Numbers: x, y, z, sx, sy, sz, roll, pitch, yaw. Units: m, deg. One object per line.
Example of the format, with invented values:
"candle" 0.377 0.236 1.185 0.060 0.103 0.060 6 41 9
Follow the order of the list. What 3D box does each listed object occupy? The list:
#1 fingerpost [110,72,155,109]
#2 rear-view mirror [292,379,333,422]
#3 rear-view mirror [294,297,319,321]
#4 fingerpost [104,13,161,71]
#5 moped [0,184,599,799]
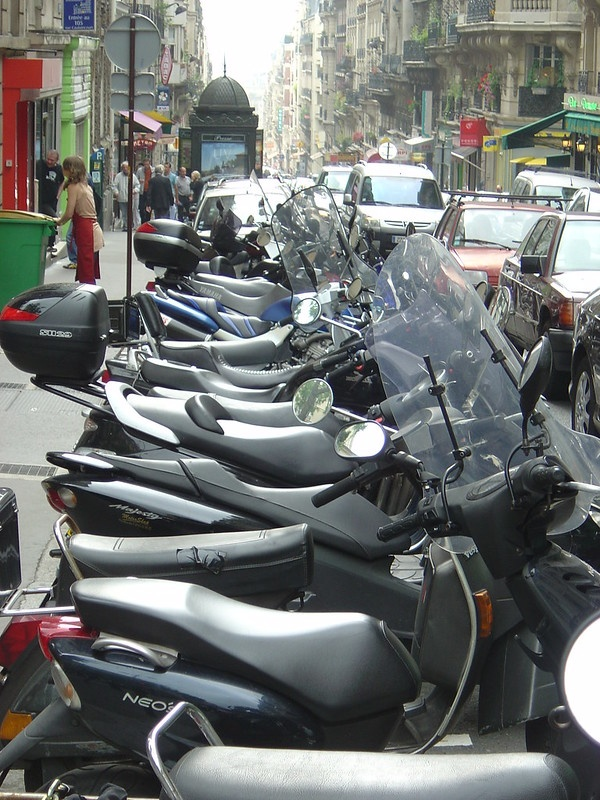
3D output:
"fingerpost" -2.143 -3.976 10.420 0.713 0.607 0.101 0 -1 -4
"rear-view mirror" 0.052 0.002 3.147 0.008 0.177 0.174 25 -6 -42
"rear-view mirror" 0.029 -0.505 4.486 0.133 0.136 0.031 -7 -16 42
"fingerpost" -2.098 -4.446 10.152 0.703 0.794 0.117 0 -11 -4
"moped" 0.045 0.347 2.304 1.772 1.377 1.060 -3 10 -4
